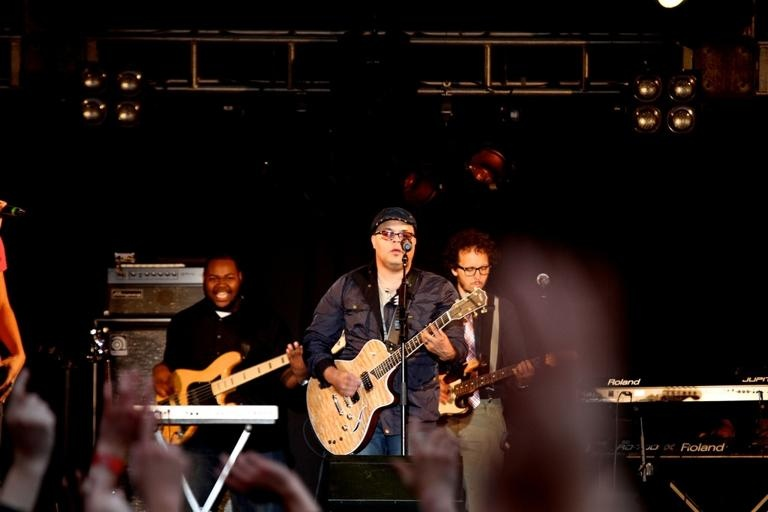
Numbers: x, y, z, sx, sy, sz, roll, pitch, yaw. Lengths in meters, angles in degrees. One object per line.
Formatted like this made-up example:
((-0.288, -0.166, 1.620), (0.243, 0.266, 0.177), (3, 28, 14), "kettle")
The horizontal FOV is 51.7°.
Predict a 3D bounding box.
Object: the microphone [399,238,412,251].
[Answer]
((0.161, -0.089, 5.906), (0.076, 0.100, 0.034), (2, 10, 7), "microphone")

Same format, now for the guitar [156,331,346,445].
((-1.114, 1.075, 6.503), (0.999, 0.346, 0.144), (-23, -8, -5), "guitar")

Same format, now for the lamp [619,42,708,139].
((2.418, -1.448, 6.897), (0.633, 0.783, 0.256), (6, 1, 14), "lamp")

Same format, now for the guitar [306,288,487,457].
((0.009, 0.897, 6.020), (0.797, 1.756, 0.206), (54, 18, 21), "guitar")
